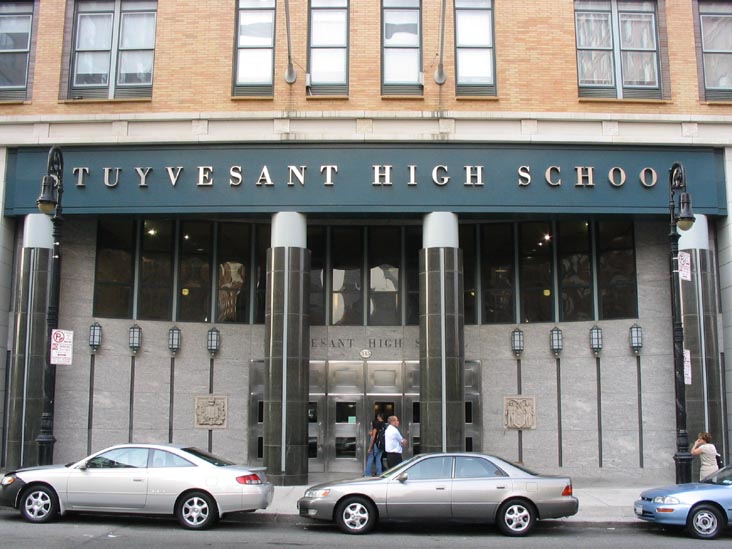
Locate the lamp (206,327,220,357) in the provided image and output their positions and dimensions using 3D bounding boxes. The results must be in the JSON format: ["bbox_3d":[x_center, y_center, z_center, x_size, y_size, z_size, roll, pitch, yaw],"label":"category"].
[{"bbox_3d":[-5.113,2.275,34.223,0.437,0.960,0.199,2,-13,-9],"label":"lamp"}]

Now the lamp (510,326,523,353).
[{"bbox_3d":[5.027,2.236,34.030,0.478,0.967,0.195,-2,-13,7],"label":"lamp"}]

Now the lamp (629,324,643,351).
[{"bbox_3d":[8.731,2.119,33.067,0.428,0.943,0.212,-4,-13,14],"label":"lamp"}]

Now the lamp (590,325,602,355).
[{"bbox_3d":[7.523,2.175,33.419,0.449,0.983,0.218,-3,-13,12],"label":"lamp"}]

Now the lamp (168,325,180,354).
[{"bbox_3d":[-6.359,2.212,33.986,0.421,0.958,0.150,2,-13,-10],"label":"lamp"}]

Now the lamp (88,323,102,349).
[{"bbox_3d":[-8.862,2.060,33.478,0.430,0.948,0.206,4,-14,-20],"label":"lamp"}]

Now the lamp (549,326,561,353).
[{"bbox_3d":[6.272,2.223,33.726,0.414,0.949,0.215,-2,-13,6],"label":"lamp"}]

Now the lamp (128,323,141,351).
[{"bbox_3d":[-7.633,2.127,33.769,0.446,0.905,0.164,2,-13,-11],"label":"lamp"}]
